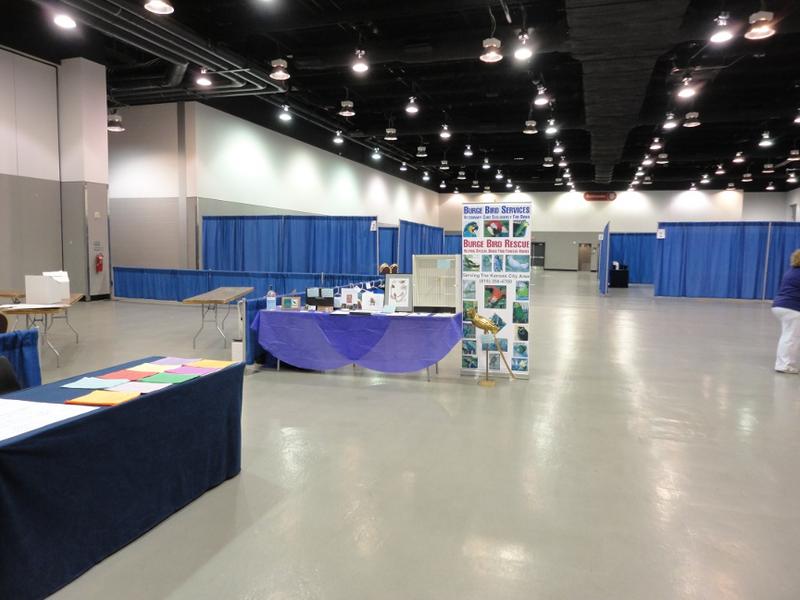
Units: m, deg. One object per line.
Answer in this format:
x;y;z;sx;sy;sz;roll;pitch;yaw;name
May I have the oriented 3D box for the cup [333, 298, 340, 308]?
-0.793;0.045;7.149;0.086;0.128;0.073;-2;12;-15;cup
